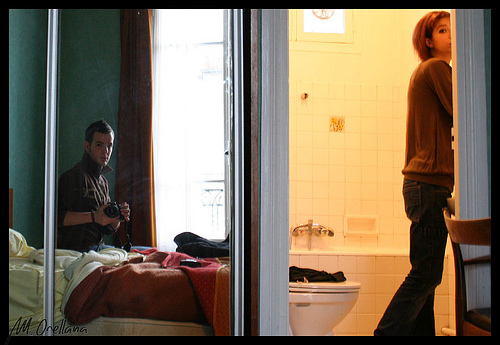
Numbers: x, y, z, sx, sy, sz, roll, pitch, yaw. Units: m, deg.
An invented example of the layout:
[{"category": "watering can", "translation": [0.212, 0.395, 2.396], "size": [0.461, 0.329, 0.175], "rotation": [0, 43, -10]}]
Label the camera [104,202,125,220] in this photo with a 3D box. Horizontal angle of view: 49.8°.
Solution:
[{"category": "camera", "translation": [-0.703, 0.196, 2.776], "size": [0.085, 0.089, 0.089], "rotation": [1, -12, -10]}]

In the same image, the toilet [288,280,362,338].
[{"category": "toilet", "translation": [0.457, 0.800, 3.413], "size": [0.442, 0.345, 0.397], "rotation": [1, -8, -1]}]
